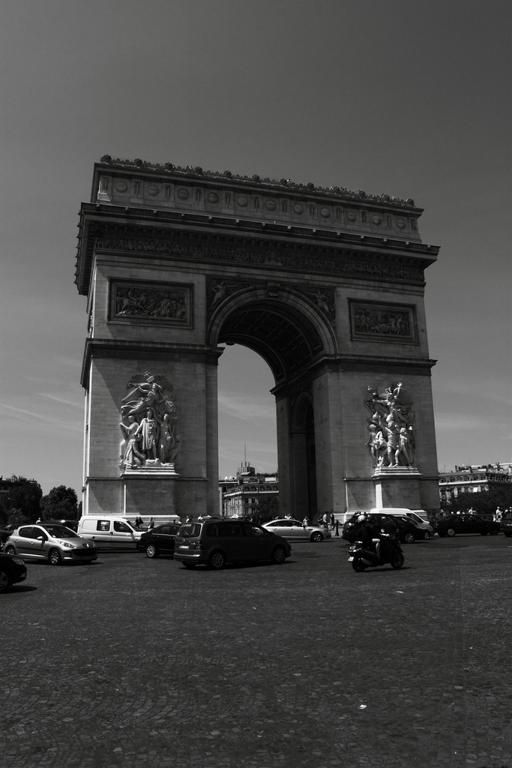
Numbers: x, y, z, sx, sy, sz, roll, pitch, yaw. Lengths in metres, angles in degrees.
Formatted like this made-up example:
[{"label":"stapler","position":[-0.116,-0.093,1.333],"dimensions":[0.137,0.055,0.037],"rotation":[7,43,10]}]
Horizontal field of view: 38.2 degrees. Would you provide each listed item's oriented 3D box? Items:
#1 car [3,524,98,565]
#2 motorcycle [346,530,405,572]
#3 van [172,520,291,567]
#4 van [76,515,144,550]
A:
[{"label":"car","position":[-6.779,5.309,24.509],"dimensions":[3.402,1.324,1.007],"rotation":[-11,-17,37]},{"label":"motorcycle","position":[3.110,4.357,19.174],"dimensions":[1.010,0.958,1.741],"rotation":[-8,-15,29]},{"label":"van","position":[-0.716,4.686,21.621],"dimensions":[2.894,1.135,1.601],"rotation":[2,-14,-24]},{"label":"van","position":[-6.158,6.283,31.394],"dimensions":[3.008,1.367,1.677],"rotation":[-2,-11,2]}]
